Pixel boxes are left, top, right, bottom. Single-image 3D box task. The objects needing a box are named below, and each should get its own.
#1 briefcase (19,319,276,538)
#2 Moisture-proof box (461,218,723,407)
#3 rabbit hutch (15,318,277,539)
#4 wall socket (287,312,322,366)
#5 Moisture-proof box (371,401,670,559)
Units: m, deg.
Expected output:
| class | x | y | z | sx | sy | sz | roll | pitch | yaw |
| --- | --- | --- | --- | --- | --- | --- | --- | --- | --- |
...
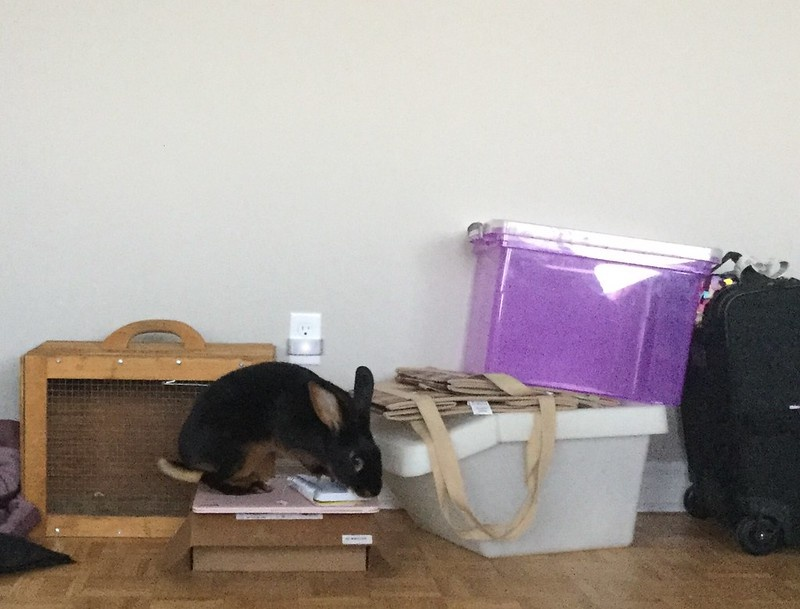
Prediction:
| class | x | y | z | sx | sy | sz | roll | pitch | yaw |
| --- | --- | --- | --- | --- | --- | --- | --- | --- | --- |
| briefcase | -0.698 | 0.362 | 2.367 | 0.636 | 0.590 | 0.362 | 1 | 0 | 8 |
| Moisture-proof box | 0.556 | 0.039 | 2.498 | 0.822 | 0.566 | 0.505 | 12 | -2 | -6 |
| rabbit hutch | -0.834 | 0.313 | 2.494 | 0.677 | 0.592 | 0.474 | 2 | 9 | -12 |
| wall socket | -0.291 | 0.105 | 2.455 | 0.105 | 0.159 | 0.100 | -1 | 8 | -9 |
| Moisture-proof box | 0.281 | 0.445 | 2.497 | 0.774 | 0.462 | 0.726 | 4 | 3 | -18 |
